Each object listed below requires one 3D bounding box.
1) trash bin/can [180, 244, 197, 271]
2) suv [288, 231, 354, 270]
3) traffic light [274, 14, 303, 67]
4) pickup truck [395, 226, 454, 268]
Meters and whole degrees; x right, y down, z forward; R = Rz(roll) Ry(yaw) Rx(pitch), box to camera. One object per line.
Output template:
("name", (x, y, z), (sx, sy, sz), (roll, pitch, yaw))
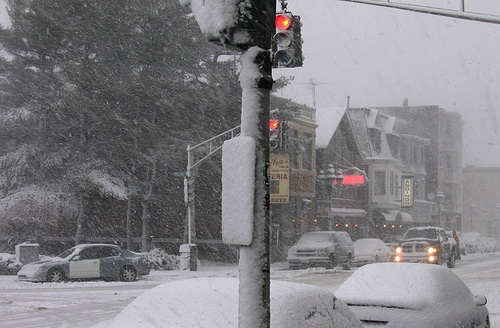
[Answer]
("trash bin/can", (-3.788, 5.734, 57.015), (1.004, 1.684, 1.160), (1, -14, -8))
("suv", (4.793, 5.657, 61.731), (2.851, 2.636, 5.967), (-2, -6, 23))
("traffic light", (1.391, -4.856, 36.596), (1.341, 2.202, 1.164), (-4, -4, 9))
("pickup truck", (10.318, 5.007, 58.521), (2.698, 2.294, 5.810), (-1, 3, 12))
